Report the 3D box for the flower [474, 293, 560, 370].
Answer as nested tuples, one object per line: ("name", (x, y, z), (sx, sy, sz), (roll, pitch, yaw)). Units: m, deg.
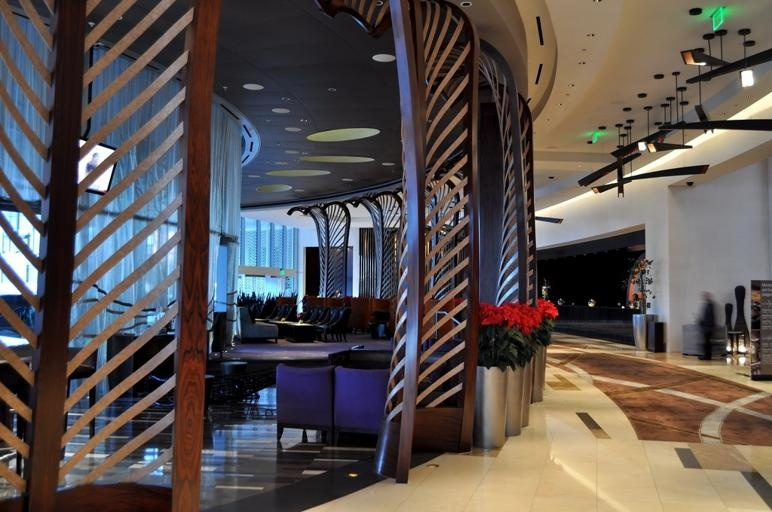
("flower", (1.602, 1.122, 6.747), (0.838, 0.642, 1.272), (1, -1, 15))
